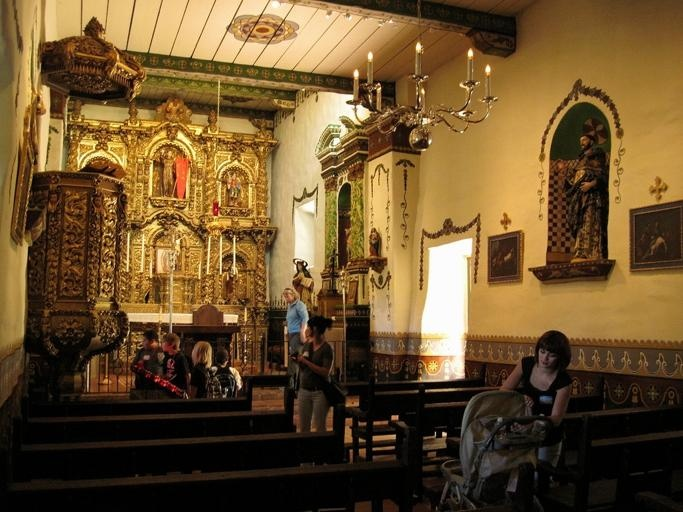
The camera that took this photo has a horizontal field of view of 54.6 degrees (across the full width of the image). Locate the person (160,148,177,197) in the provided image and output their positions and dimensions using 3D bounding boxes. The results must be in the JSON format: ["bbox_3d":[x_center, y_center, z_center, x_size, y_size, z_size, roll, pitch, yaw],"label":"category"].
[{"bbox_3d":[-5.203,-2.505,19.848,0.470,1.495,0.261,2,-3,-19],"label":"person"}]

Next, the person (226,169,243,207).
[{"bbox_3d":[-3.362,-2.095,20.667,0.493,1.201,0.308,2,-3,-18],"label":"person"}]

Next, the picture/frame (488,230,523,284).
[{"bbox_3d":[2.603,0.024,10.475,0.063,0.815,0.754,5,-6,-24],"label":"picture/frame"}]
